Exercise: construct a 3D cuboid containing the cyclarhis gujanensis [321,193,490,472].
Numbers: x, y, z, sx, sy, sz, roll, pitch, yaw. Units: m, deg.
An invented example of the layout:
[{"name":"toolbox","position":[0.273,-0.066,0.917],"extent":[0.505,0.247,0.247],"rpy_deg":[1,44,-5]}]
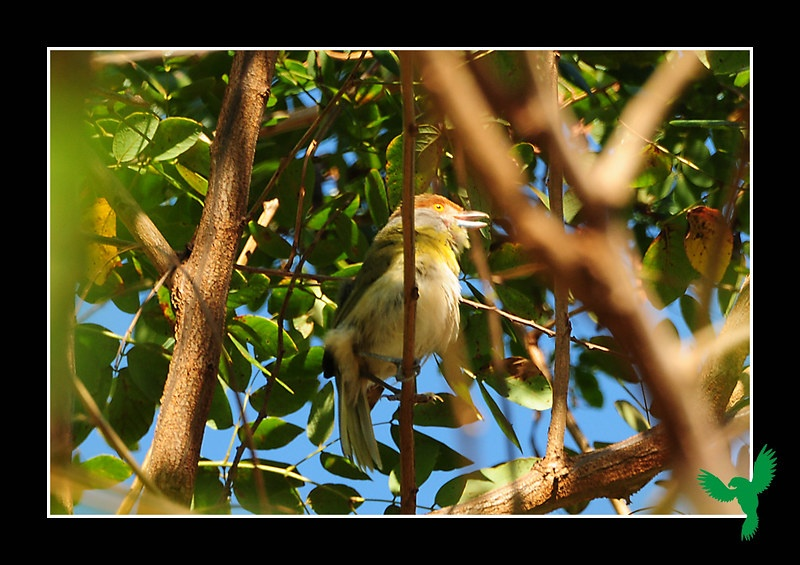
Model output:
[{"name":"cyclarhis gujanensis","position":[-0.014,0.203,5.273],"extent":[0.692,1.364,0.939],"rpy_deg":[-3,-6,8]}]
